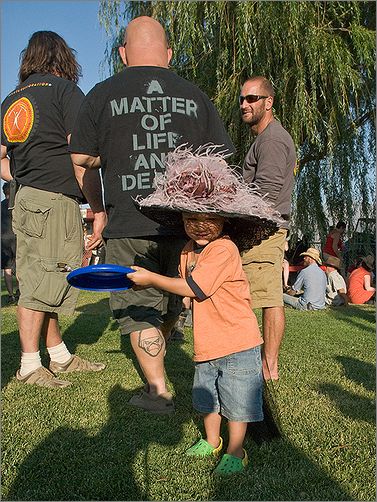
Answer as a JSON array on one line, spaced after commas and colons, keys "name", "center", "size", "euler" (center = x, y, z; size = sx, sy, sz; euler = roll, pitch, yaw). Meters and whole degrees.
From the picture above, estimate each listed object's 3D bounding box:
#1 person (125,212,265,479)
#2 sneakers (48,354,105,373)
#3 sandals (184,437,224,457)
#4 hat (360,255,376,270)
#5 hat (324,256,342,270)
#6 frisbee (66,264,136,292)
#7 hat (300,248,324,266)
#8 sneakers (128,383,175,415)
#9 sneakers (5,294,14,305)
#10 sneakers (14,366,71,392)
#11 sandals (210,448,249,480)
[{"name": "person", "center": [0.081, 0.340, 1.624], "size": [0.461, 0.983, 0.405], "euler": [5, 10, 35]}, {"name": "sneakers", "center": [-0.751, 0.774, 2.775], "size": [0.400, 0.124, 0.134], "euler": [2, -2, -21]}, {"name": "sandals", "center": [0.060, 0.771, 1.600], "size": [0.115, 0.035, 0.051], "euler": [9, -4, -40]}, {"name": "hat", "center": [3.643, 0.209, 8.143], "size": [0.113, 0.274, 0.239], "euler": [-31, 4, -23]}, {"name": "hat", "center": [2.839, 0.243, 7.943], "size": [0.274, 0.101, 0.241], "euler": [18, 1, -33]}, {"name": "frisbee", "center": [-0.323, 0.100, 1.534], "size": [0.166, 0.033, 0.161], "euler": [-17, -28, 35]}, {"name": "hat", "center": [2.235, 0.079, 7.328], "size": [0.330, 0.148, 0.300], "euler": [25, -11, 16]}, {"name": "sneakers", "center": [-0.194, 0.742, 2.068], "size": [0.098, 0.113, 0.243], "euler": [2, -2, -44]}, {"name": "sneakers", "center": [-2.852, 0.772, 6.466], "size": [0.103, 0.116, 0.273], "euler": [2, 0, -19]}, {"name": "sneakers", "center": [-0.869, 0.752, 2.394], "size": [0.349, 0.109, 0.122], "euler": [1, -12, 6]}, {"name": "sandals", "center": [0.170, 0.782, 1.496], "size": [0.091, 0.044, 0.172], "euler": [4, 9, 28]}]
